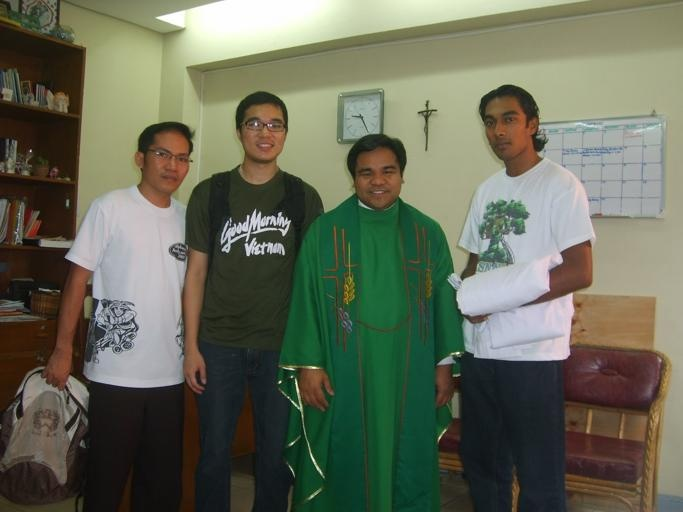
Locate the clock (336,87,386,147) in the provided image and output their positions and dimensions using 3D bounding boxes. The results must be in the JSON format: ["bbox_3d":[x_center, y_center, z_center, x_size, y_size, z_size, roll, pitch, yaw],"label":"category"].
[{"bbox_3d":[0.147,-1.083,4.362,0.475,0.485,0.043,16,11,30],"label":"clock"}]

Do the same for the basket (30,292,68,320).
[{"bbox_3d":[-1.912,0.335,3.621,0.148,0.188,0.252,9,-6,-44],"label":"basket"}]

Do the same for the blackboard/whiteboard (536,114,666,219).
[{"bbox_3d":[1.594,-0.519,3.302,0.782,0.636,0.084,2,3,23],"label":"blackboard/whiteboard"}]

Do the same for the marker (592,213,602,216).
[{"bbox_3d":[1.671,-0.262,3.633,0.066,0.027,0.021,8,9,17],"label":"marker"}]
